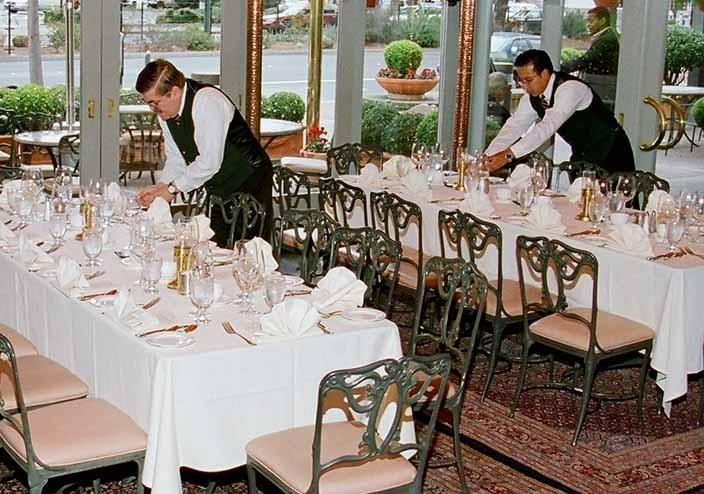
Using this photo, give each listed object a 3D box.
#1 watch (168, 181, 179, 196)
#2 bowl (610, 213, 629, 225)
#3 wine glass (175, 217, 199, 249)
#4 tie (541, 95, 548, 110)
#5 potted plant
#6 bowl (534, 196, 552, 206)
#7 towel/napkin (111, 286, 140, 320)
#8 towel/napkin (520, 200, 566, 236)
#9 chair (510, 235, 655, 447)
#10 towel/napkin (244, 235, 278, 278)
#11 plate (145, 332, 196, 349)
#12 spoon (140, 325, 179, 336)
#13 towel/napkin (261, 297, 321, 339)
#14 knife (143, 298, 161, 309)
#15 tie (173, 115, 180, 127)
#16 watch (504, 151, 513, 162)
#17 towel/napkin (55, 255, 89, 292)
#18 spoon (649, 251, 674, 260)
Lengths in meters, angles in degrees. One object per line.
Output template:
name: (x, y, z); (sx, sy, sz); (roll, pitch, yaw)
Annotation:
watch: (-1.342, -0.439, 4.402); (0.070, 0.054, 0.096); (25, -2, -3)
bowl: (1.991, -0.206, 4.364); (0.092, 0.066, 0.100); (0, -2, 0)
wine glass: (-0.897, -0.082, 3.187); (0.128, 0.225, 0.143); (0, 11, 0)
tie: (1.923, -1.448, 5.846); (0.088, 0.103, 0.038); (-1, -2, 18)
potted plant: (0.769, -2.408, 7.879); (0.685, 0.657, 0.745); (0, 10, 0)
bowl: (1.586, -0.377, 4.840); (0.119, 0.110, 0.149); (0, -1, -5)
towel/napkin: (-1.010, 0.251, 2.583); (0.120, 0.130, 0.044); (-30, 8, -29)
towel/napkin: (1.418, -0.192, 4.301); (0.263, 0.095, 0.293); (9, 26, 2)
chair: (1.527, 0.614, 3.817); (0.751, 1.503, 0.785); (-10, 17, -30)
towel/napkin: (-0.439, 0.038, 2.985); (0.156, 0.191, 0.155); (-9, 3, 35)
plate: (-0.747, 0.381, 2.405); (0.202, 0.021, 0.153); (-4, 15, -2)
spoon: (-0.822, 0.356, 2.479); (0.099, 0.008, 0.015); (-13, 38, -34)
towel/napkin: (-0.261, 0.300, 2.462); (0.237, 0.159, 0.071); (-7, 15, -15)
knife: (-0.952, 0.266, 2.781); (0.084, 0.028, 0.017); (-34, -11, -45)
tie: (-1.334, -0.966, 4.468); (0.031, 0.093, 0.084); (-14, 18, -38)
watch: (1.474, -0.835, 5.473); (0.064, 0.103, 0.029); (-7, -12, 9)
towel/napkin: (-1.392, 0.125, 2.908); (0.140, 0.177, 0.061); (-3, 3, 11)
spoon: (2.010, 0.065, 3.772); (0.265, 0.016, 0.073); (-12, 34, -39)
